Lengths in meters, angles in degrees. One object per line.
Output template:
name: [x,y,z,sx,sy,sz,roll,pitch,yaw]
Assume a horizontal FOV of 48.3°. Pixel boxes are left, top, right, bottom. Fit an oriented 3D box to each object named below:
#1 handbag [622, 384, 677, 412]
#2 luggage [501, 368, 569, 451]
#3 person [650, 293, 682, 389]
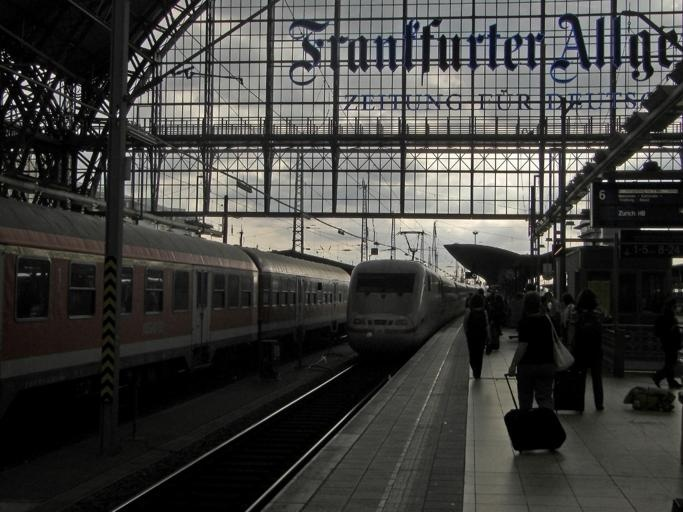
handbag: [6.355,2.982,15.725,0.975,0.416,0.584,1,-2,21]
luggage: [3.193,2.790,12.637,0.798,1.471,0.766,8,-39,-37]
person: [7.713,2.053,17.968,0.632,2.115,0.936,1,-2,23]
